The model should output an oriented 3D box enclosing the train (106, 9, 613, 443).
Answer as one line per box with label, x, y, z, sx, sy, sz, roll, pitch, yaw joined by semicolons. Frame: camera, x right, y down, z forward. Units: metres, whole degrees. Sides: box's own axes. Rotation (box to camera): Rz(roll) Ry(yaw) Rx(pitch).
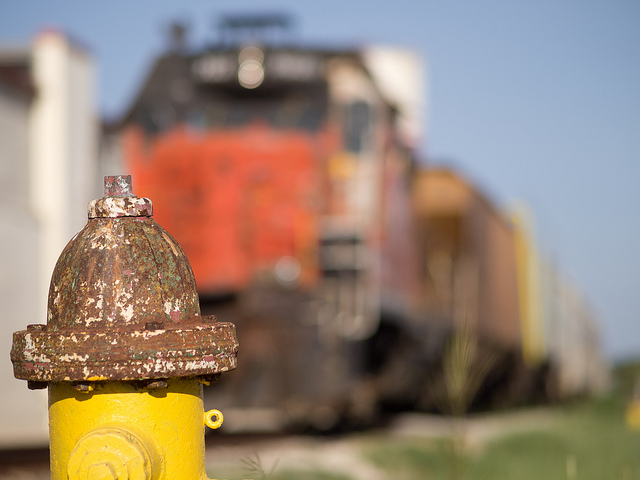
train;0.879;-0.012;13.175;1.427;2.068;5.497;-1;0;19
